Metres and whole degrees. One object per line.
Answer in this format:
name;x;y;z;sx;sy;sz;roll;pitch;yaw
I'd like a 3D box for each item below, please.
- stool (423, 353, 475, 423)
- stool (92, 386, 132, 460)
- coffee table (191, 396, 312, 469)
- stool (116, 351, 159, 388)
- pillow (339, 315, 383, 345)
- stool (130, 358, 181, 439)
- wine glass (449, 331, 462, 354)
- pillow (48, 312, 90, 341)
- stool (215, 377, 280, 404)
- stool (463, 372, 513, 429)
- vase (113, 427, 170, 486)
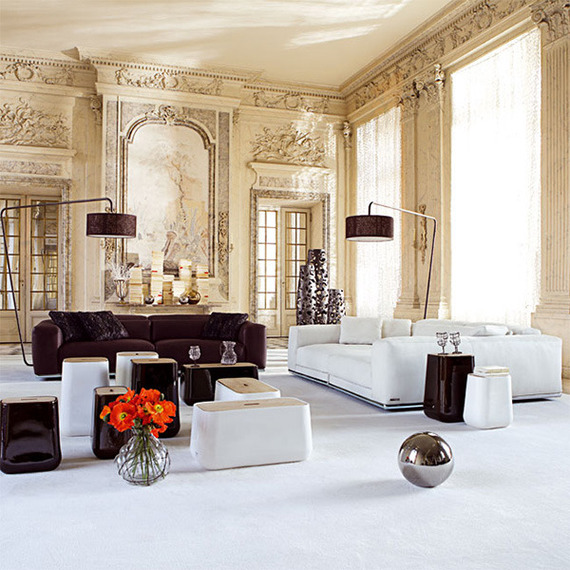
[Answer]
stool;1.180;0.741;4.029;0.342;0.443;0.326;2;-2;19
stool;-1.016;0.769;3.110;0.234;0.379;0.245;-12;-17;27
coffee table;-0.182;0.811;3.064;0.653;0.300;0.355;2;-4;-25
stool;-1.019;0.592;3.863;0.312;0.256;0.162;3;-4;-18
pillow;0.801;0.483;5.856;0.329;0.204;0.107;1;-38;11
stool;-0.793;0.728;3.700;0.353;0.531;0.356;3;12;18
wine glass;1.276;0.436;4.193;0.086;0.166;0.333;0;-1;17
pillow;-2.312;0.442;5.927;0.261;0.319;0.362;0;-1;38
stool;-0.264;0.689;3.632;0.326;0.117;0.530;0;-3;-16
stool;1.437;0.764;3.803;0.319;0.307;0.308;1;-1;-26
vase;-0.687;0.844;2.660;0.221;0.279;0.215;-26;-19;6
